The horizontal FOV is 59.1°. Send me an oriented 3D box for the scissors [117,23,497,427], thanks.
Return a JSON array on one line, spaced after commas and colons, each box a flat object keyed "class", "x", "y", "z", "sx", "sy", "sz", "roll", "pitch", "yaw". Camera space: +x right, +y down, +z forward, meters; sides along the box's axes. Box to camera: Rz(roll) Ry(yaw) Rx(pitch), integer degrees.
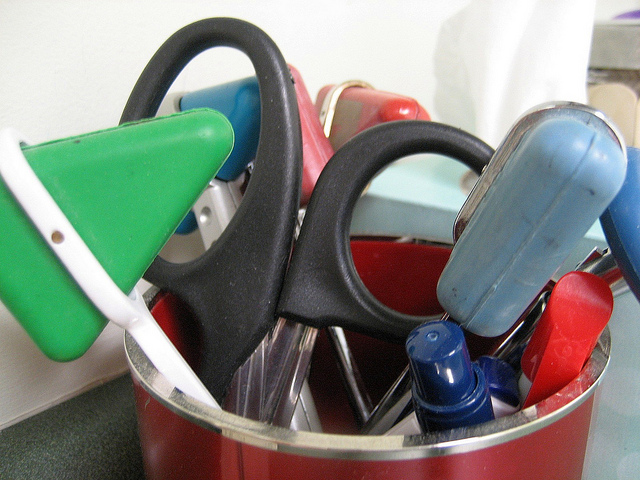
[{"class": "scissors", "x": -0.040, "y": 0.016, "z": 0.585, "sx": 0.353, "sy": 0.372, "sz": 0.278, "roll": 20, "pitch": 47, "yaw": 24}]
